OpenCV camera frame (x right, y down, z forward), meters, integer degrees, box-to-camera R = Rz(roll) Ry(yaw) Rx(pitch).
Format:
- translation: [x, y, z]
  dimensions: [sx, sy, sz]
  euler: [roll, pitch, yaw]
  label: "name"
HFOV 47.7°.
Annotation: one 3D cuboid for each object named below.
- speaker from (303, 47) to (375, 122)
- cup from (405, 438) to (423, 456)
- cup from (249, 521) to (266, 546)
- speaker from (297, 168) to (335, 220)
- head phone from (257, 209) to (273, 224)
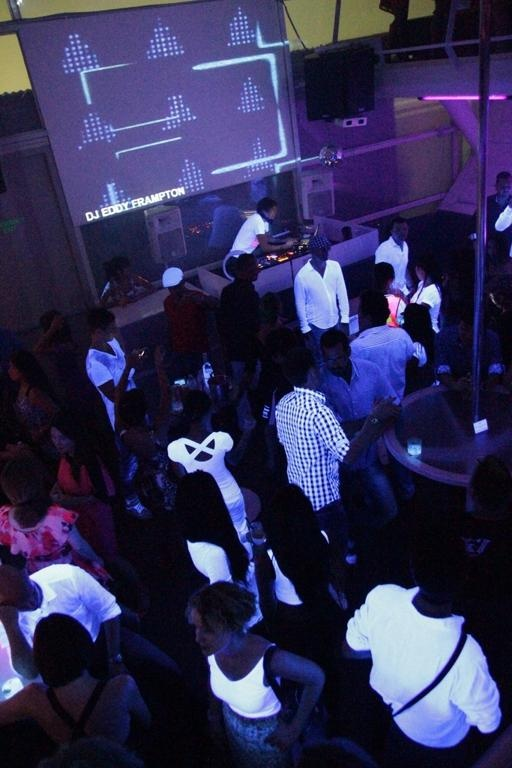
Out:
- translation: [0.853, -3.051, 5.894]
  dimensions: [0.622, 0.651, 0.352]
  euler: [-13, 33, -7]
  label: "speaker"
- translation: [0.804, 0.318, 2.988]
  dimensions: [0.077, 0.090, 0.080]
  euler: [-10, 42, 9]
  label: "cup"
- translation: [0.004, 0.660, 2.596]
  dimensions: [0.068, 0.098, 0.036]
  euler: [-10, 0, -30]
  label: "cup"
- translation: [0.676, -2.226, 6.835]
  dimensions: [0.460, 0.480, 0.317]
  euler: [-16, 24, -23]
  label: "speaker"
- translation: [0.099, -1.684, 5.833]
  dimensions: [0.075, 0.091, 0.102]
  euler: [13, 47, 32]
  label: "head phone"
